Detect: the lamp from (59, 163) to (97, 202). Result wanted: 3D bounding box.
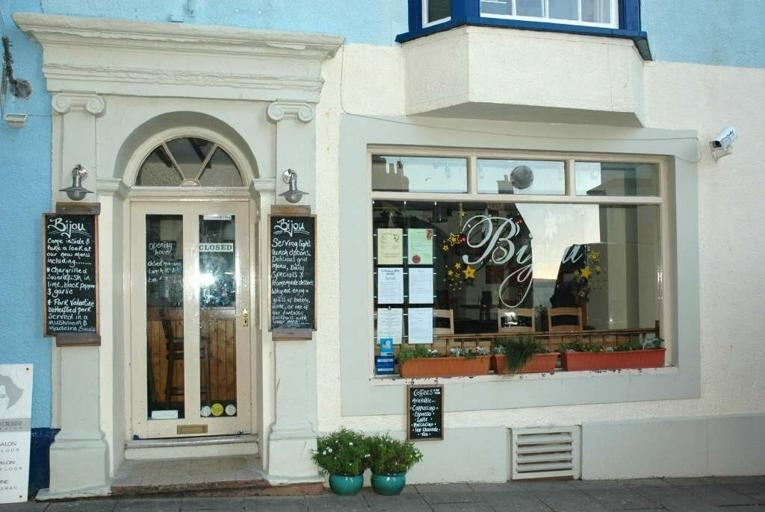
[{"bbox_3d":[-3.561,-0.854,11.343,0.414,0.452,0.410,2,1,-7],"label":"lamp"}]

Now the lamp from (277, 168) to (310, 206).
[{"bbox_3d":[-1.098,-0.834,11.651,0.392,0.422,0.394,-1,-3,34],"label":"lamp"}]

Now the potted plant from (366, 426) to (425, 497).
[{"bbox_3d":[0.067,2.550,11.848,0.751,0.758,0.632,3,-13,-9],"label":"potted plant"}]

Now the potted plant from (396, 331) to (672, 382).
[{"bbox_3d":[1.756,1.259,12.096,3.108,0.578,0.365,-2,-10,-8],"label":"potted plant"}]

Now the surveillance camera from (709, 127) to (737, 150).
[{"bbox_3d":[4.410,-1.521,12.486,0.360,0.273,0.218,-1,-3,1],"label":"surveillance camera"}]

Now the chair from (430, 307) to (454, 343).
[{"bbox_3d":[0.755,0.862,12.225,0.343,0.472,0.352,1,2,-1],"label":"chair"}]

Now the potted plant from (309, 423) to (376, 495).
[{"bbox_3d":[-0.466,2.502,11.808,0.824,0.848,0.672,2,-13,-7],"label":"potted plant"}]
